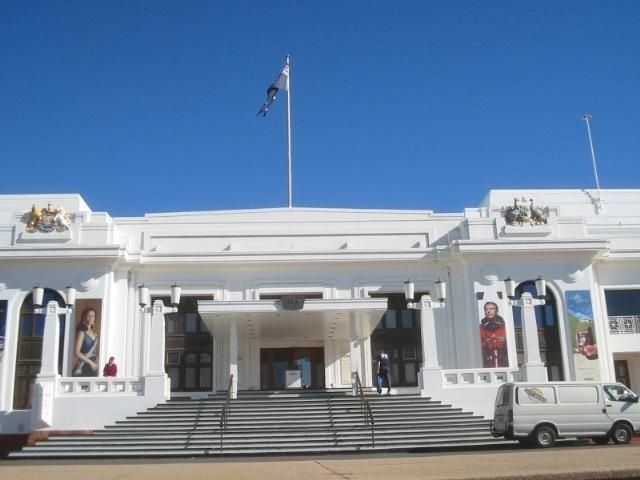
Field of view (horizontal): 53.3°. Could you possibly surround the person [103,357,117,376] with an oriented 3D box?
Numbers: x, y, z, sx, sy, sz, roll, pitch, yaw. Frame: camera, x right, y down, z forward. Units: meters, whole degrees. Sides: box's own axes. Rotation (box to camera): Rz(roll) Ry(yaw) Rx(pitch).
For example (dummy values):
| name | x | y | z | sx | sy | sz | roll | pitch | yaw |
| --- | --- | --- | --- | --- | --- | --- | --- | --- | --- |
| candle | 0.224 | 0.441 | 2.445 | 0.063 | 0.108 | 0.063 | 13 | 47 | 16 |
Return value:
| name | x | y | z | sx | sy | sz | roll | pitch | yaw |
| --- | --- | --- | --- | --- | --- | --- | --- | --- | --- |
| person | -8.953 | 5.433 | 27.128 | 0.474 | 0.741 | 0.957 | -7 | 13 | -23 |
